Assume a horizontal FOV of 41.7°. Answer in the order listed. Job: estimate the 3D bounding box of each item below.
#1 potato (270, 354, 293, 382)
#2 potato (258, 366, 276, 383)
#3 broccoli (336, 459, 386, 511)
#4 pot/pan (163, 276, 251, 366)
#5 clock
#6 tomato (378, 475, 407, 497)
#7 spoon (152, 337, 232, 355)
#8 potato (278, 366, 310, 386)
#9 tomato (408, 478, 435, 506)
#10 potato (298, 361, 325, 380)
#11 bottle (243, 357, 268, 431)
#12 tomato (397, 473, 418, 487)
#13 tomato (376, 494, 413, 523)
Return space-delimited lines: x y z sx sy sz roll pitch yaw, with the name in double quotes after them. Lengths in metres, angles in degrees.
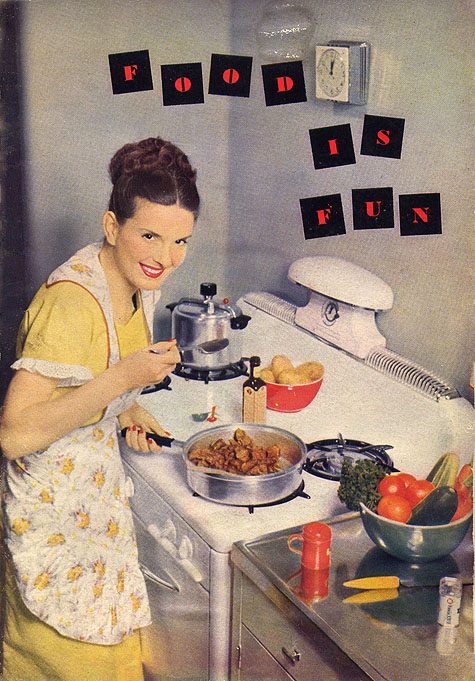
0.112 0.069 1.605 0.055 0.064 0.034 4 -31 14 "potato"
0.076 0.088 1.599 0.041 0.011 0.036 9 22 20 "potato"
0.192 0.231 1.008 0.062 0.082 0.067 -2 -13 -5 "broccoli"
-0.066 -0.064 1.812 0.199 0.249 0.203 -14 25 -36 "pot/pan"
0.274 -0.694 1.616 0.063 0.156 0.172 -14 21 -38 "clock"
0.241 0.227 0.974 0.035 0.036 0.032 -8 2 -37 "tomato"
-0.127 0.018 1.742 0.231 0.040 0.037 -4 -3 -4 "spoon"
0.136 0.084 1.541 0.049 0.022 0.047 7 16 18 "potato"
0.279 0.233 0.961 0.037 0.033 0.038 7 21 44 "tomato"
0.180 0.071 1.602 0.057 0.027 0.053 4 17 9 "potato"
0.046 0.129 1.427 0.048 0.140 0.064 -12 28 -34 "bottle"
0.278 0.226 1.010 0.023 0.020 0.022 -1 -1 2 "tomato"
0.229 0.248 0.919 0.045 0.040 0.037 -2 52 17 "tomato"
